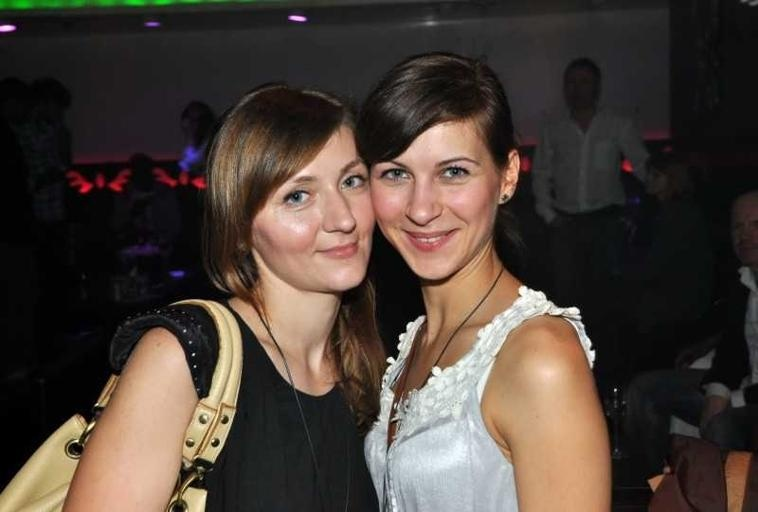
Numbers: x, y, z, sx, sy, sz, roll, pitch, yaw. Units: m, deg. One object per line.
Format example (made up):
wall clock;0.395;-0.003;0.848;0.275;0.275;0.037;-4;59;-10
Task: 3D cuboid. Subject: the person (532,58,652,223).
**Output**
person;1.846;-0.961;5.599;1.280;1.646;0.859;0;7;13
